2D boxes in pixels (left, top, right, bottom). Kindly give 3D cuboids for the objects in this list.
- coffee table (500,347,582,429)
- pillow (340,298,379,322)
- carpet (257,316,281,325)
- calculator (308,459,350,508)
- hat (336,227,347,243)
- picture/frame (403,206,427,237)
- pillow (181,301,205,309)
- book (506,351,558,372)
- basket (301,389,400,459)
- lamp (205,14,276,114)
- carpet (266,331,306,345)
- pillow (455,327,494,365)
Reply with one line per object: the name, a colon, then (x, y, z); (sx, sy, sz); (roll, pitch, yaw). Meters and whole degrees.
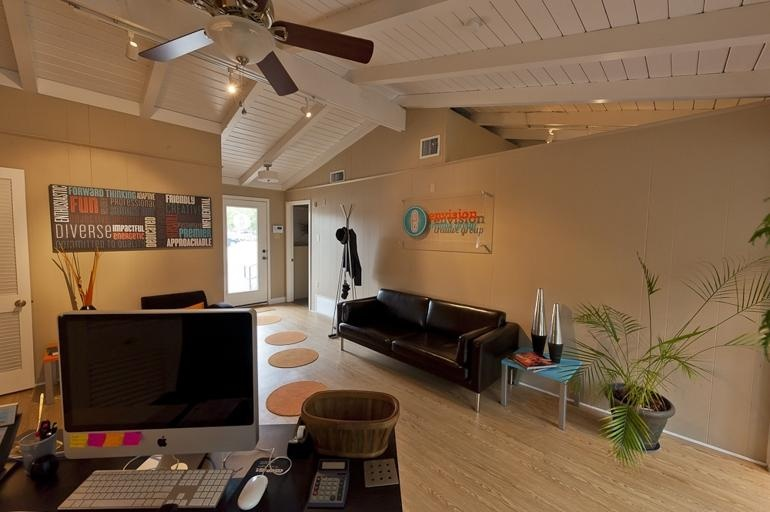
coffee table: (1.758, 1.425, 5.474); (0.867, 0.692, 0.753); (8, 6, 33)
pillow: (-0.352, 0.719, 6.588); (0.351, 0.298, 0.322); (6, -5, -43)
carpet: (-1.887, 1.050, 7.907); (0.337, 0.003, 0.357); (2, 4, -2)
calculator: (-0.377, 1.588, 3.427); (0.198, 0.099, 0.275); (0, 28, 4)
hat: (-0.660, -0.314, 7.467); (0.133, 0.264, 0.682); (-1, 3, -8)
picture/frame: (0.431, -0.477, 6.631); (0.076, 0.464, 0.388); (2, -6, -44)
pillow: (-2.292, 0.586, 5.787); (0.170, 0.084, 0.128); (-14, 2, -12)
book: (1.577, 1.136, 5.222); (0.349, 0.123, 0.431); (-2, 4, -36)
basket: (-0.275, 1.220, 3.586); (0.732, 0.322, 0.462); (1, 8, 0)
lamp: (-1.150, -1.532, 3.772); (0.299, 0.522, 0.303); (11, 9, 42)
carpet: (-1.438, 1.193, 7.077); (0.569, 0.079, 0.617); (-1, 3, -11)
pillow: (1.009, 1.004, 5.372); (0.468, 0.353, 0.214); (-3, 4, -42)
